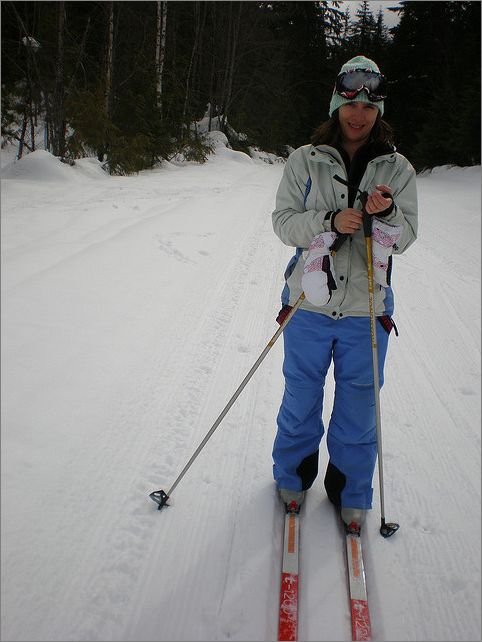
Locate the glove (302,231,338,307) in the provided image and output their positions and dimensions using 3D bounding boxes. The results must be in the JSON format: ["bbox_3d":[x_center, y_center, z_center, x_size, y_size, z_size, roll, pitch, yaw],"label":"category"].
[{"bbox_3d":[0.321,-0.225,1.768,0.136,0.283,0.195,5,18,8],"label":"glove"}]

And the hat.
[{"bbox_3d":[0.516,-1.028,1.895,0.204,0.265,0.296,6,9,20],"label":"hat"}]

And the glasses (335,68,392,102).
[{"bbox_3d":[0.502,-0.989,1.812,0.216,0.137,0.181,6,19,5],"label":"glasses"}]

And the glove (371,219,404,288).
[{"bbox_3d":[0.571,-0.269,1.746,0.117,0.293,0.099,0,17,-11],"label":"glove"}]
